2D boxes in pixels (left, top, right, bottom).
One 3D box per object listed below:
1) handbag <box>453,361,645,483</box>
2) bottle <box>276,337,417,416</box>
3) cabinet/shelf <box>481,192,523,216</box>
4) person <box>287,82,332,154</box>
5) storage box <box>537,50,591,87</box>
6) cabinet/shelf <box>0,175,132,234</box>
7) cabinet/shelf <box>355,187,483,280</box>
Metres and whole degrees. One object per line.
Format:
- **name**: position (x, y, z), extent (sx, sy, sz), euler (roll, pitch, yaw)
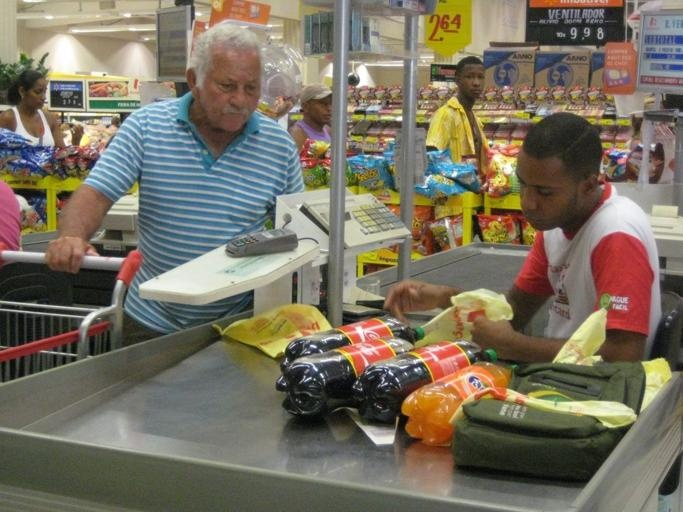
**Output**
- **handbag**: position (0.465, 0.351, 1.249), extent (0.329, 0.144, 0.439), euler (6, 11, 31)
- **bottle**: position (0.035, 0.300, 1.492), extent (0.140, 0.129, 0.462), euler (-11, -2, 42)
- **cabinet/shelf**: position (1.527, -0.496, 5.339), extent (0.473, 0.253, 0.442), euler (0, 3, 6)
- **person**: position (-0.297, -1.521, 6.310), extent (0.535, 0.768, 0.833), euler (11, 17, 28)
- **storage box**: position (4.424, -3.594, 10.880), extent (1.185, 0.706, 0.695), euler (15, 33, 40)
- **cabinet/shelf**: position (-2.969, -0.660, 6.062), extent (1.458, 0.837, 0.869), euler (0, 2, -2)
- **cabinet/shelf**: position (0.939, -0.326, 5.185), extent (0.935, 0.627, 0.520), euler (-3, -23, 40)
